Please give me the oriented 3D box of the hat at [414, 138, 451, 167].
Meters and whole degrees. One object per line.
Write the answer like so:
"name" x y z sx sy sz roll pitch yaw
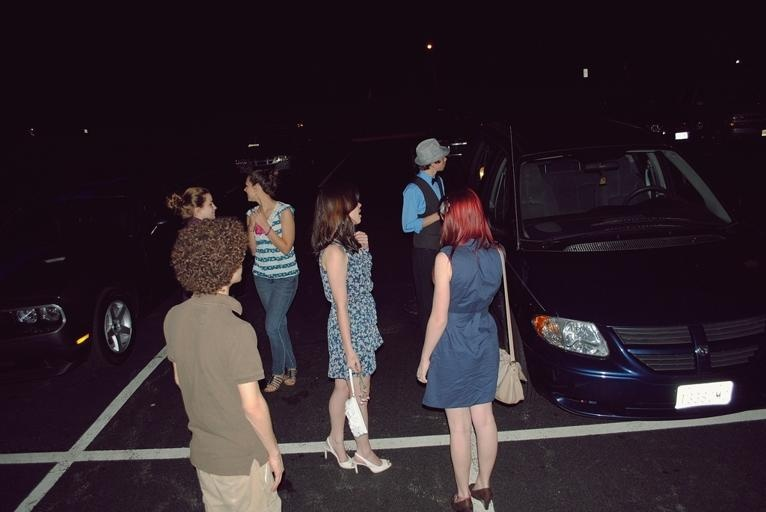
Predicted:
"hat" 0.606 -1.301 6.864 0.400 0.339 0.241 -7 11 -6

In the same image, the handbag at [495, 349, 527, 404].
"handbag" 1.260 1.152 5.379 0.238 0.493 0.461 1 11 7

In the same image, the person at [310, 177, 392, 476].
"person" -0.365 0.799 5.441 0.644 3.002 0.770 -4 11 9

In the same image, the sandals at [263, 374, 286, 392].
"sandals" -1.375 1.617 6.923 0.111 0.130 0.296 -6 -3 30

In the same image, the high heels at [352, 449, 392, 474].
"high heels" -0.111 2.164 5.758 0.385 0.205 0.197 -1 9 -11
